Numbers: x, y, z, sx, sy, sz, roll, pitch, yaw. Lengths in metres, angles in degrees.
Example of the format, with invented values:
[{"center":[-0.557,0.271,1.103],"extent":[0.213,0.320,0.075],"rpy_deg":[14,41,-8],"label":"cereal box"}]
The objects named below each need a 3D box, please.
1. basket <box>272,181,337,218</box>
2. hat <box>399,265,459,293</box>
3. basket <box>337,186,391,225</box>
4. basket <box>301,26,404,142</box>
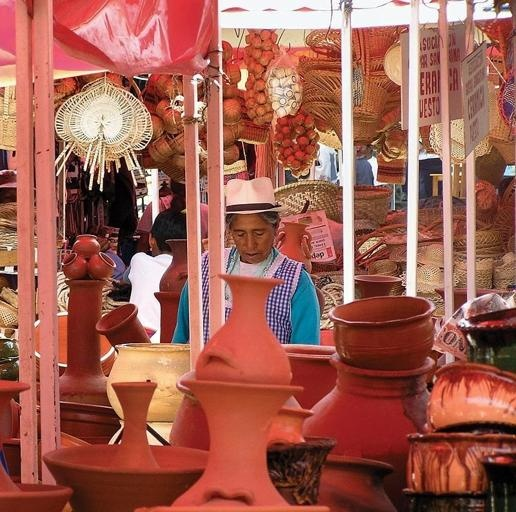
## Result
[{"center":[0.309,-0.362,4.790],"extent":[0.323,0.087,0.329],"rpy_deg":[-3,-2,18],"label":"basket"},{"center":[1.033,0.124,4.542],"extent":[0.311,0.082,0.314],"rpy_deg":[0,2,-1],"label":"hat"},{"center":[0.700,-0.313,4.775],"extent":[0.236,0.242,0.235],"rpy_deg":[-1,0,-1],"label":"basket"},{"center":[0.507,-0.986,4.331],"extent":[0.664,0.464,0.667],"rpy_deg":[-2,-12,17],"label":"basket"}]
